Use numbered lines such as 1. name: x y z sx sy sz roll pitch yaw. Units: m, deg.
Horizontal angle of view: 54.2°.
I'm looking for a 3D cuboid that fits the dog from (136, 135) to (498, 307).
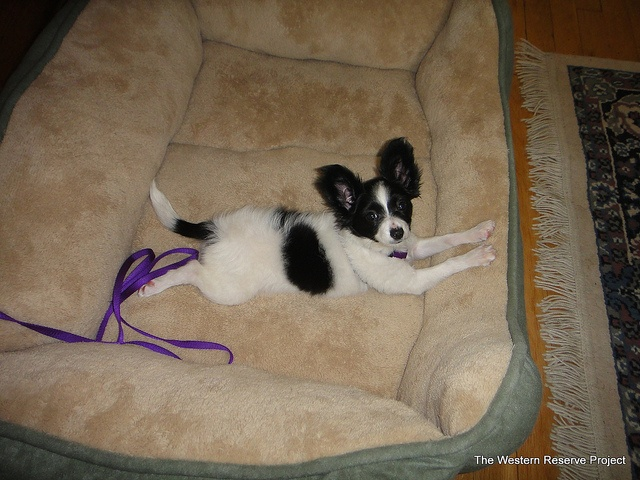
1. dog: -0.043 -0.205 3.970 2.410 1.138 0.925 -1 52 1
